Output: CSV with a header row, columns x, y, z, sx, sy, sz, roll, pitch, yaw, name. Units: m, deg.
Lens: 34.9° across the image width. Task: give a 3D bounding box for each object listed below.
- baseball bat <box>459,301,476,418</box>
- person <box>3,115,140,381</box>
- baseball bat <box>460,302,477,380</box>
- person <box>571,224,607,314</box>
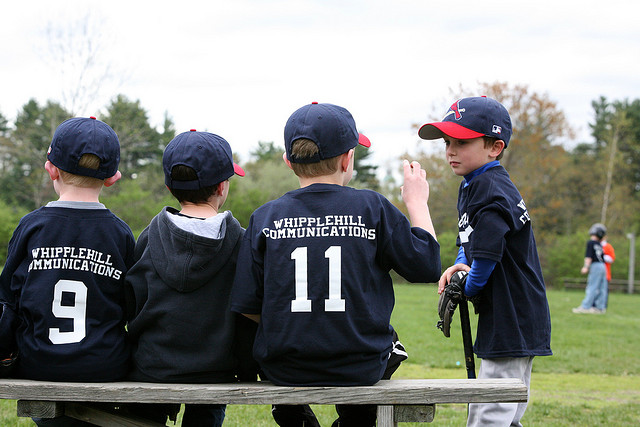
x,y,z,sx,sy,sz,roll,pitch,yaw,name
1.467,1.358,10.202,0.118,0.867,0.116,-8,-4,0,baseball bat
-2.431,0.338,10.005,1.299,2.601,0.320,1,-2,-11,person
1.484,1.304,10.220,0.102,0.903,0.098,-6,-4,-15,baseball bat
5.325,1.117,20.021,0.578,1.751,1.082,0,-2,15,person
